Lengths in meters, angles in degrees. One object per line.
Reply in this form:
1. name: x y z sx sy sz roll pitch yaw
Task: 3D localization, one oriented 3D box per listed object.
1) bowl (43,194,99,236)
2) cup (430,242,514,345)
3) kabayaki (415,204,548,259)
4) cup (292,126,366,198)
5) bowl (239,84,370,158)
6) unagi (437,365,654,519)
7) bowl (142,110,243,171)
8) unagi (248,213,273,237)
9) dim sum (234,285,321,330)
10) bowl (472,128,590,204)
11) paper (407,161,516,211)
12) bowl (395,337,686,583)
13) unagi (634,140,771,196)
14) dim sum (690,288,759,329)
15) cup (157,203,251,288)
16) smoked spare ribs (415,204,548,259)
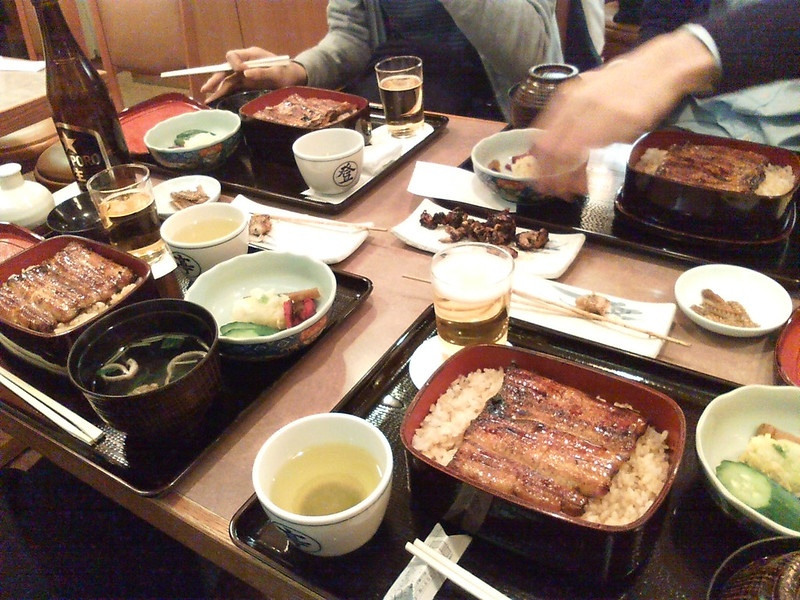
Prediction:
1. bowl: -1.260 -0.324 2.365 0.153 0.050 0.156 2 55 -3
2. cup: 0.230 -0.014 1.890 0.278 0.318 0.277 -3 37 3
3. kabayaki: 0.314 -0.260 2.290 0.388 0.098 0.208 12 35 22
4. cup: -0.276 -0.590 2.572 0.296 0.207 0.298 -3 42 3
5. bowl: -0.474 -0.863 2.907 0.534 0.198 0.423 13 37 25
6. unagi: 0.382 0.366 1.598 0.334 0.088 0.342 21 54 22
7. bowl: -0.949 -0.777 2.901 0.374 0.175 0.381 -3 45 3
8. unagi: -0.546 -0.295 2.396 0.079 0.037 0.087 7 43 5
9. dim sum: -0.373 0.007 1.910 0.177 0.061 0.141 -5 18 -31
10. bowl: 0.496 -0.587 2.515 0.373 0.155 0.381 -4 42 3
11. paper: 0.234 -0.464 2.532 0.374 0.056 0.215 20 55 8
12. bowl: 0.303 0.449 1.534 0.648 0.220 0.511 21 53 25
13. unagi: 1.100 -0.481 2.248 0.376 0.097 0.284 14 42 21
14. dim sum: 1.019 0.032 1.921 0.153 0.045 0.101 19 58 21
15. cup: -0.680 -0.238 2.291 0.306 0.253 0.325 -1 39 1
16. smoked spare ribs: 0.302 -0.265 2.296 0.388 0.098 0.208 12 35 22
